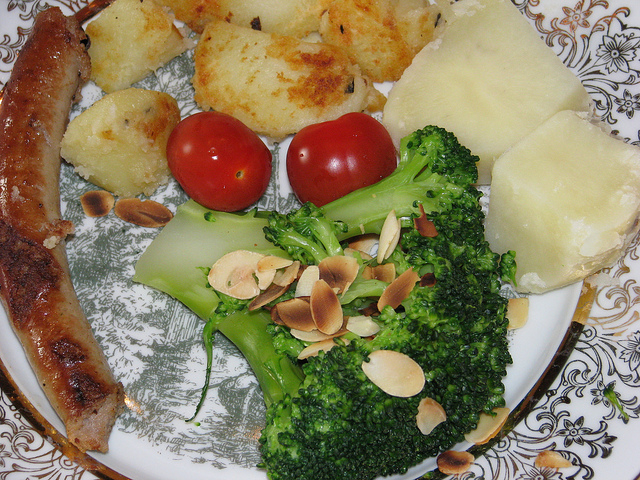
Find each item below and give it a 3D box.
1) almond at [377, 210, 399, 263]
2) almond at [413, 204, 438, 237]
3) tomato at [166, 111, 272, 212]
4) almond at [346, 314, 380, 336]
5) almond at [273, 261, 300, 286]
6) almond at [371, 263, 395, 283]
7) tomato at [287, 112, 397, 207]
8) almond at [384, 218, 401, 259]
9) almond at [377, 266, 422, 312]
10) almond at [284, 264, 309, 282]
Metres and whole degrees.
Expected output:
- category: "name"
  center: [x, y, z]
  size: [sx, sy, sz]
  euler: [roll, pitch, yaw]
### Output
- category: "almond"
  center: [0.219, -0.018, 2.171]
  size: [0.051, 0.056, 0.183]
  euler: [9, 88, -1]
- category: "almond"
  center: [0.343, -0.063, 2.128]
  size: [0.048, 0.021, 0.090]
  euler: [-7, 76, 0]
- category: "tomato"
  center: [-0.384, -0.304, 2.427]
  size: [0.420, 0.346, 0.370]
  euler: [11, 88, 4]
- category: "almond"
  center: [0.133, 0.267, 2.062]
  size: [0.068, 0.032, 0.067]
  euler: [17, 48, 6]
- category: "almond"
  center: [-0.110, 0.117, 2.178]
  size: [0.065, 0.024, 0.092]
  euler: [42, 107, 30]
- category: "almond"
  center: [0.209, 0.105, 2.140]
  size: [0.061, 0.018, 0.064]
  euler: [12, 85, 30]
- category: "tomato"
  center: [0.068, -0.349, 2.414]
  size: [0.342, 0.358, 0.335]
  euler: [26, 30, 23]
- category: "almond"
  center: [0.242, -0.009, 2.136]
  size: [0.022, 0.076, 0.101]
  euler: [20, 70, -17]
- category: "almond"
  center: [0.248, 0.159, 2.099]
  size: [0.184, 0.027, 0.074]
  euler: [-42, 84, -7]
- category: "almond"
  center: [-0.077, 0.103, 2.166]
  size: [0.018, 0.056, 0.061]
  euler: [34, 24, -25]
